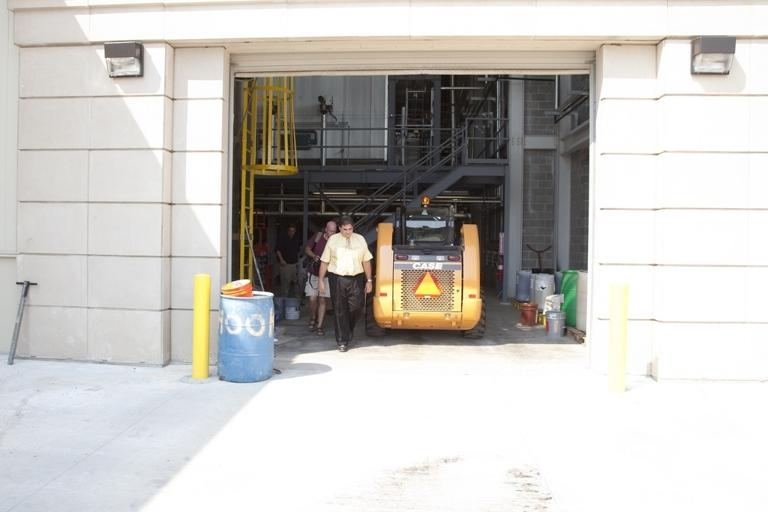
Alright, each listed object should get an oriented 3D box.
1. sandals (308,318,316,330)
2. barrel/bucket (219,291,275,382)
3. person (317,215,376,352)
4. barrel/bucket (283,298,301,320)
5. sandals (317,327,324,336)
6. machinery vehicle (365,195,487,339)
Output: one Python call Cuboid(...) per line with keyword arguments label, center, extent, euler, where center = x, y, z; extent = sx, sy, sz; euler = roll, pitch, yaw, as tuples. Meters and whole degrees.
Cuboid(label="sandals", center=(-1.339, 1.250, 14.311), extent=(0.181, 0.206, 0.552), euler=(0, -3, -3))
Cuboid(label="barrel/bucket", center=(-1.892, 1.113, 11.094), extent=(1.000, 1.206, 1.056), euler=(1, -2, 0))
Cuboid(label="person", center=(-0.608, 0.425, 12.546), extent=(0.757, 2.161, 0.415), euler=(-2, 4, -20))
Cuboid(label="barrel/bucket", center=(-1.817, 1.030, 15.216), extent=(0.300, 0.402, 0.372), euler=(-1, 4, -8))
Cuboid(label="sandals", center=(-1.138, 1.332, 13.714), extent=(0.107, 0.090, 0.313), euler=(-1, -3, -2))
Cuboid(label="machinery vehicle", center=(0.735, 0.282, 13.573), extent=(1.958, 2.280, 1.561), euler=(0, 4, 2))
